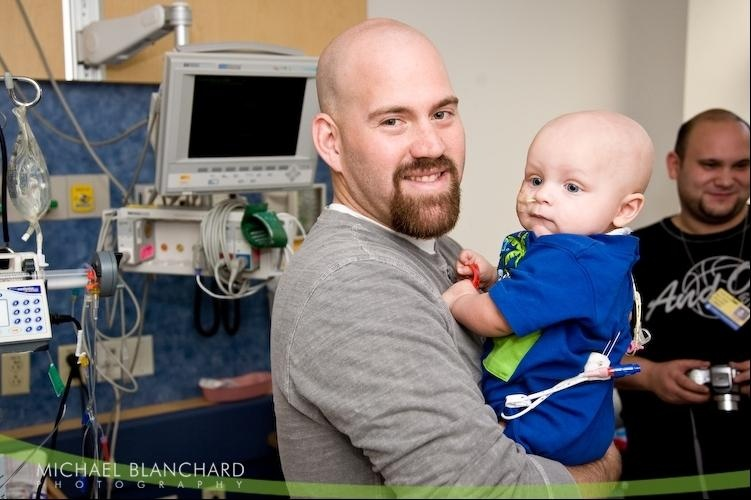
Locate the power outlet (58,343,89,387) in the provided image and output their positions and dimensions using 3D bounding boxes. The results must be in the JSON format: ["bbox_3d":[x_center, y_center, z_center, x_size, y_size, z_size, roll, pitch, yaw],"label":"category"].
[{"bbox_3d":[-1.357,0.522,3.238,0.116,0.198,0.021,-2,13,-26],"label":"power outlet"}]

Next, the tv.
[{"bbox_3d":[-0.603,-0.552,2.949,0.698,0.580,0.374,-9,25,-42],"label":"tv"}]

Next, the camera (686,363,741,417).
[{"bbox_3d":[1.276,0.507,2.693,0.221,0.161,0.078,-11,-12,35],"label":"camera"}]

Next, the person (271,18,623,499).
[{"bbox_3d":[0.079,0.049,2.576,1.105,1.573,1.630,-1,4,-1],"label":"person"}]

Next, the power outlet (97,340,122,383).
[{"bbox_3d":[-1.199,0.508,3.283,0.125,0.173,0.018,-4,-10,9],"label":"power outlet"}]
